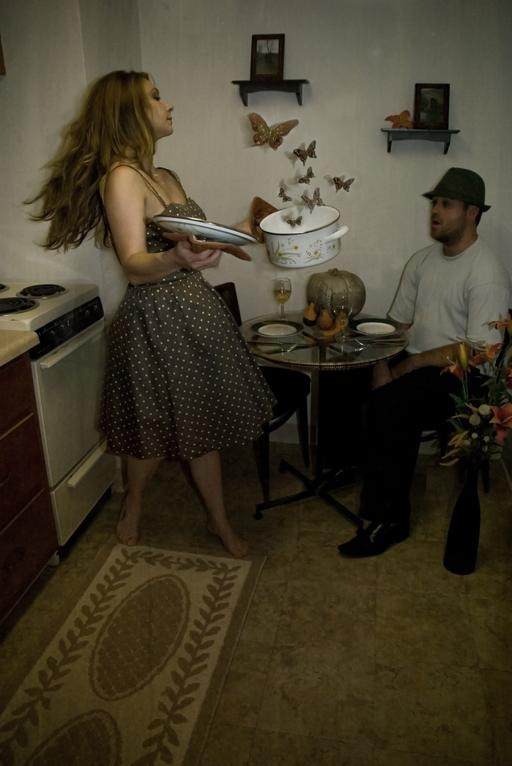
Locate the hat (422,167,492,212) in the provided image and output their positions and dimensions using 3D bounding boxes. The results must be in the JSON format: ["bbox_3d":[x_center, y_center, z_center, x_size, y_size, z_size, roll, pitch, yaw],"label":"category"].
[{"bbox_3d":[0.674,-0.647,1.893,0.175,0.083,0.154,20,5,-36],"label":"hat"}]

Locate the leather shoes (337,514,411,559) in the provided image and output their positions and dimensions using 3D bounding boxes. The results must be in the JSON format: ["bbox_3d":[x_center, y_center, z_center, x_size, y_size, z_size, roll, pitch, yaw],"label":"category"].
[{"bbox_3d":[0.385,0.494,1.795,0.258,0.080,0.095,-15,24,-29],"label":"leather shoes"}]

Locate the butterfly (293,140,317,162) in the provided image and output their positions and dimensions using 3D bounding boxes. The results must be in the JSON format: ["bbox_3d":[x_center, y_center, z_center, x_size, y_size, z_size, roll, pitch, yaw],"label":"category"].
[{"bbox_3d":[0.184,-0.861,2.101,0.093,0.073,0.174,-1,21,5],"label":"butterfly"}]

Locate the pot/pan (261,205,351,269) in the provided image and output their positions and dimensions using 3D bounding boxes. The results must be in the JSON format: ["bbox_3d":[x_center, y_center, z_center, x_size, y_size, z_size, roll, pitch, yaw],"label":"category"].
[{"bbox_3d":[0.130,-0.403,1.567,0.303,0.119,0.209,23,43,39],"label":"pot/pan"}]

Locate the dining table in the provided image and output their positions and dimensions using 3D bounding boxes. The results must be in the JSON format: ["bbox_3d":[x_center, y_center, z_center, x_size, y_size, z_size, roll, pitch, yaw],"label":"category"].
[{"bbox_3d":[0.169,0.099,2.019,0.571,0.735,0.608,6,20,7],"label":"dining table"}]

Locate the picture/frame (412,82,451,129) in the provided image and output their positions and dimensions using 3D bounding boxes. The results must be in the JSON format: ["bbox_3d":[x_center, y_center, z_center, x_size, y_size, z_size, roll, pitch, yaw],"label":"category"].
[{"bbox_3d":[0.630,-0.988,1.999,0.165,0.209,0.018,0,14,5],"label":"picture/frame"}]

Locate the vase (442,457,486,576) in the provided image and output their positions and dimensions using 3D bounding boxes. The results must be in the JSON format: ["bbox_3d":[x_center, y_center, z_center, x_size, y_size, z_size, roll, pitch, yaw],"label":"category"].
[{"bbox_3d":[0.597,0.389,1.629,0.111,0.314,0.155,5,20,6],"label":"vase"}]

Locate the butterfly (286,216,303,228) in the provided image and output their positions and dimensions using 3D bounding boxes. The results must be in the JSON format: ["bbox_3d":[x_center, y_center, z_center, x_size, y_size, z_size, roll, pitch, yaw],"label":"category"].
[{"bbox_3d":[0.115,-0.471,1.646,0.035,0.035,0.018,-7,14,-13],"label":"butterfly"}]

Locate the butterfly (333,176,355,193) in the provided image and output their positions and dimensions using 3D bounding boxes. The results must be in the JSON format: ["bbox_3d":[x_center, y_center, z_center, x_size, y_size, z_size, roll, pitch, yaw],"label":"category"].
[{"bbox_3d":[0.338,-0.752,2.130,0.083,0.044,0.045,2,39,-27],"label":"butterfly"}]

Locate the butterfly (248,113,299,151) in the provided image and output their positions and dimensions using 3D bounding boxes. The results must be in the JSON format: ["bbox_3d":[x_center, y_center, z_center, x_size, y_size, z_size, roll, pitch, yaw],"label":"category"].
[{"bbox_3d":[0.075,-0.967,2.154,0.179,0.126,0.043,8,42,-3],"label":"butterfly"}]

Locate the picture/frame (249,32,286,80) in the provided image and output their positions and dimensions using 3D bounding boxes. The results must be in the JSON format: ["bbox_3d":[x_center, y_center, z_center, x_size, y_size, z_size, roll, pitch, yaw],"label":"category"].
[{"bbox_3d":[0.046,-1.200,2.059,0.181,0.208,0.030,2,8,8],"label":"picture/frame"}]

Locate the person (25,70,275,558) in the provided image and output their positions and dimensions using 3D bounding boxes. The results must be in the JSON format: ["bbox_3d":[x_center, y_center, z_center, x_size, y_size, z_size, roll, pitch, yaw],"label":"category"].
[{"bbox_3d":[-0.269,-0.198,1.594,0.512,1.459,0.516,6,20,21],"label":"person"}]
